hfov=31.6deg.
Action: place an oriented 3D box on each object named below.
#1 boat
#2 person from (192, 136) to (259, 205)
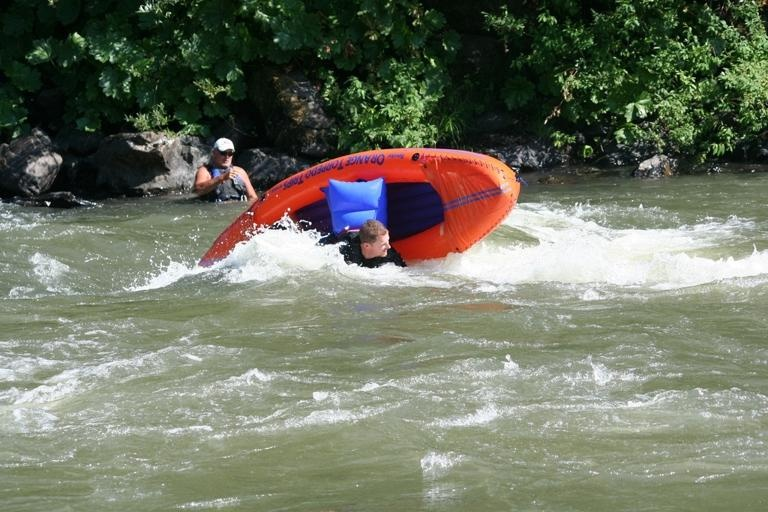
[{"bbox_3d":[-0.062,-0.673,18.777,3.892,1.561,1.041,-5,8,4],"label":"boat"},{"bbox_3d":[-2.648,-1.422,21.939,0.956,0.727,1.216,-8,24,-31],"label":"person"}]
